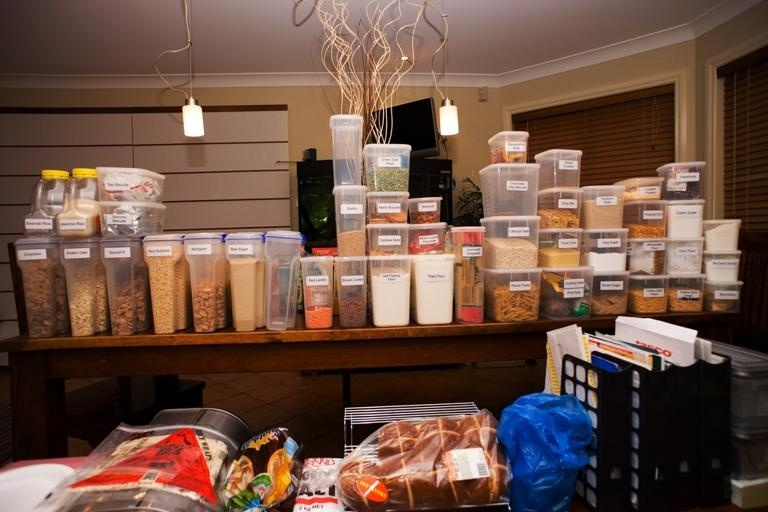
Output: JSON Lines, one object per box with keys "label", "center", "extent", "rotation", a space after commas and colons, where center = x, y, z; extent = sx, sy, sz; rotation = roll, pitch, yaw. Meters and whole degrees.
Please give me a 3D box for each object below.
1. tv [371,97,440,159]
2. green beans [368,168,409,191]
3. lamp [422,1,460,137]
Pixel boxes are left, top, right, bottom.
{"label": "tv", "center": [0.164, -1.346, 5.778], "extent": [0.826, 0.578, 0.094], "rotation": [1, 20, 25]}
{"label": "green beans", "center": [0.022, -0.458, 3.326], "extent": [0.255, 0.146, 0.130], "rotation": [-3, 2, -5]}
{"label": "lamp", "center": [0.585, -1.935, 5.541], "extent": [0.268, 1.643, 0.266], "rotation": [-1, 5, -22]}
